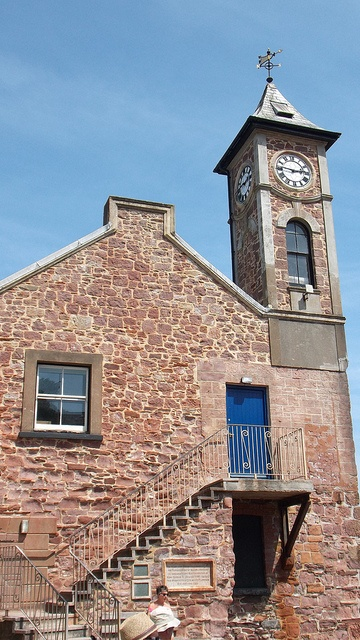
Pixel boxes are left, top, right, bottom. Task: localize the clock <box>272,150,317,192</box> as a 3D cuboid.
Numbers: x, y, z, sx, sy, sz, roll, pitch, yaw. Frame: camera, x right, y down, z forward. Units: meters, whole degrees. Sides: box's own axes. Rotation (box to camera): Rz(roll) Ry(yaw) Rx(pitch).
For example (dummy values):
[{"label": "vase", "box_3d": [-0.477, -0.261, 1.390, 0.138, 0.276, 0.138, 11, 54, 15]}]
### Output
[{"label": "clock", "box_3d": [2.709, -3.589, 19.024, 1.268, 1.295, 0.107, 1, -30, -22]}]
